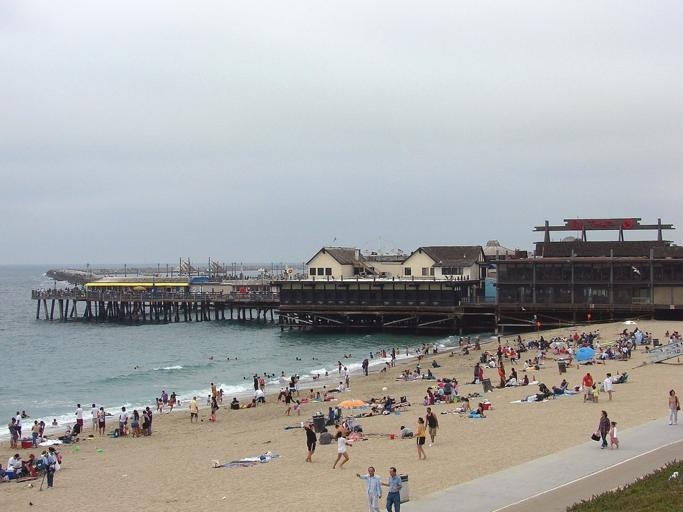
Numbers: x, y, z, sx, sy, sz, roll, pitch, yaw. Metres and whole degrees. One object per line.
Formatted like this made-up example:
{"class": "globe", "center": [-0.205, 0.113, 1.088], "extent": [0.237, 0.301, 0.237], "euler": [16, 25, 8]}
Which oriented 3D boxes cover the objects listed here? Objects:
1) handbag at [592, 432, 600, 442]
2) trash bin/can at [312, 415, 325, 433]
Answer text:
{"class": "handbag", "center": [11.579, 8.385, 47.613], "extent": [0.391, 0.259, 0.371], "euler": [0, -2, -3]}
{"class": "trash bin/can", "center": [-1.088, 8.666, 53.323], "extent": [0.751, 0.747, 0.732], "euler": [0, 2, 20]}
